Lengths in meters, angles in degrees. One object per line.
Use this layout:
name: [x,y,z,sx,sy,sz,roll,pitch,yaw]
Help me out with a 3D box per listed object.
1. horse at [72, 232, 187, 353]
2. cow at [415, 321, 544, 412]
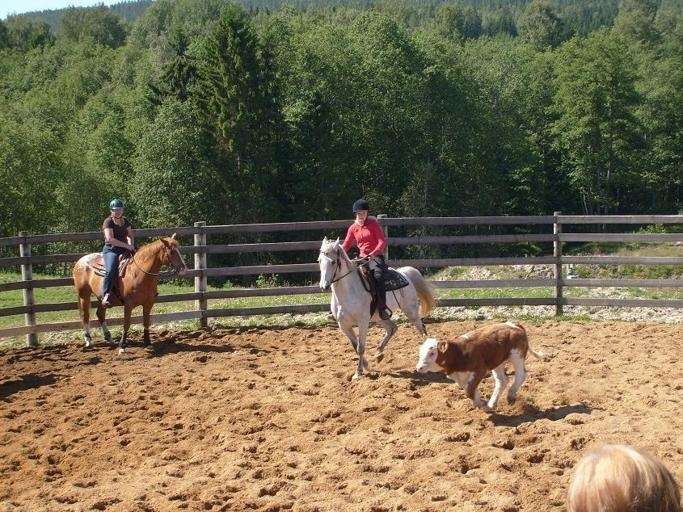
horse: [-9.879,1.831,51.269,6.267,5.537,1.866,0,7,28]
cow: [5.728,4.733,47.685,4.062,3.792,3.978,7,11,32]
